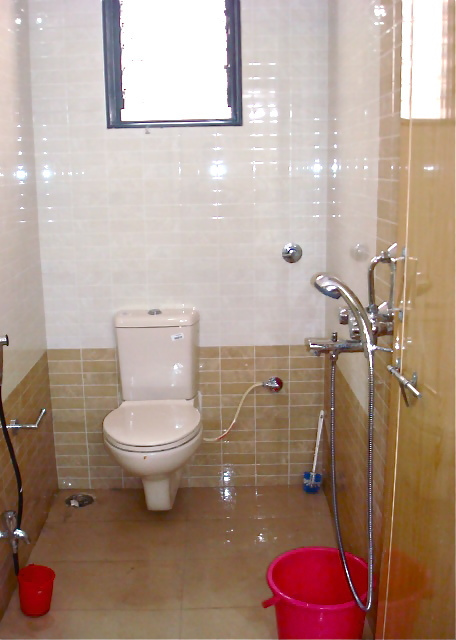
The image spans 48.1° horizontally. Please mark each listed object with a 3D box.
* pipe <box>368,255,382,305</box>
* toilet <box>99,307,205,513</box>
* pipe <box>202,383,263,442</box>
[{"bbox_3d":[0.379,-0.107,1.322,0.030,0.128,0.152,2,10,15],"label":"pipe"},{"bbox_3d":[-0.315,0.407,2.198,0.418,0.772,0.720,0,12,2],"label":"toilet"},{"bbox_3d":[0.024,0.437,2.465,0.277,0.295,0.211,1,18,-5],"label":"pipe"}]
